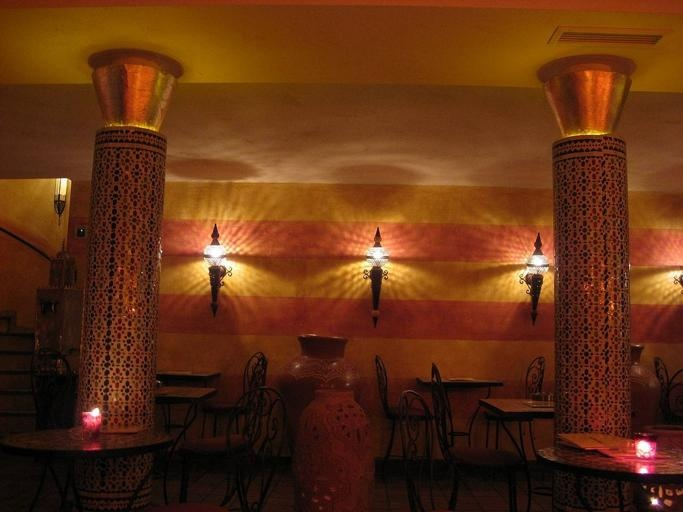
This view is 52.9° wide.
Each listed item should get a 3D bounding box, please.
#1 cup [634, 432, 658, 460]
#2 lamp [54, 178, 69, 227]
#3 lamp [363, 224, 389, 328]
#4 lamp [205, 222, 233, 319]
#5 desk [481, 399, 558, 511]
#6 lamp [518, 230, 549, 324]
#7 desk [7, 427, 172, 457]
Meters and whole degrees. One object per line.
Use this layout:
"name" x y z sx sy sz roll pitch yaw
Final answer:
"cup" 2.084 1.316 4.744 0.167 0.174 0.170 2 -9 0
"lamp" -4.029 -0.784 9.858 0.199 0.629 0.289 9 -20 -22
"lamp" 0.426 0.235 8.464 0.279 1.229 0.274 -15 -25 39
"lamp" -1.549 0.152 8.481 0.266 1.128 0.317 -11 -22 32
"desk" 1.787 2.048 6.953 0.818 0.674 1.437 0 -4 0
"lamp" 2.386 0.269 8.479 0.309 1.109 0.235 -17 -26 41
"desk" -1.804 1.337 4.908 1.162 0.214 0.559 4 -18 -12
